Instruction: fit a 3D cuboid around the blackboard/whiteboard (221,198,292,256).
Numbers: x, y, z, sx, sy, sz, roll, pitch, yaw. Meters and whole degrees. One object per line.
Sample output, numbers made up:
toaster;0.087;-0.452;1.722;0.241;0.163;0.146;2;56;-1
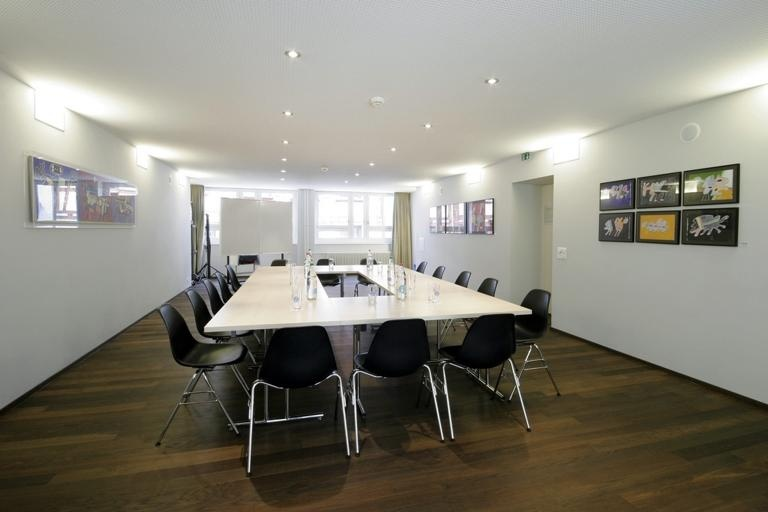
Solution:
blackboard/whiteboard;-2.603;-0.592;9.673;1.148;0.867;0.162;-1;3;-37

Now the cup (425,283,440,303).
cup;0.570;0.445;5.778;0.177;0.277;0.175;0;7;0
